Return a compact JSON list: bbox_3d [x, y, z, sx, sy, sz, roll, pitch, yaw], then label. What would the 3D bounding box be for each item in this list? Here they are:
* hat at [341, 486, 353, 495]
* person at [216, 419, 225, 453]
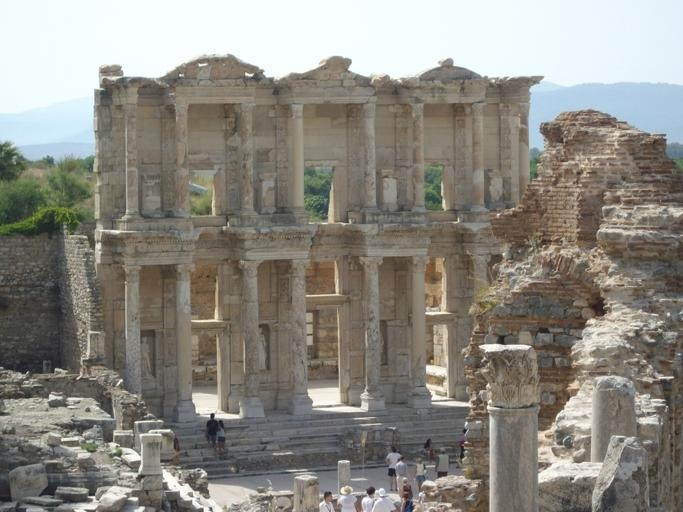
[{"bbox_3d":[0.121,5.534,42.872,0.296,0.281,0.083,-2,-13,1],"label":"hat"},{"bbox_3d":[-3.384,5.032,50.755,0.266,0.916,0.700,-1,-3,-4],"label":"person"}]
